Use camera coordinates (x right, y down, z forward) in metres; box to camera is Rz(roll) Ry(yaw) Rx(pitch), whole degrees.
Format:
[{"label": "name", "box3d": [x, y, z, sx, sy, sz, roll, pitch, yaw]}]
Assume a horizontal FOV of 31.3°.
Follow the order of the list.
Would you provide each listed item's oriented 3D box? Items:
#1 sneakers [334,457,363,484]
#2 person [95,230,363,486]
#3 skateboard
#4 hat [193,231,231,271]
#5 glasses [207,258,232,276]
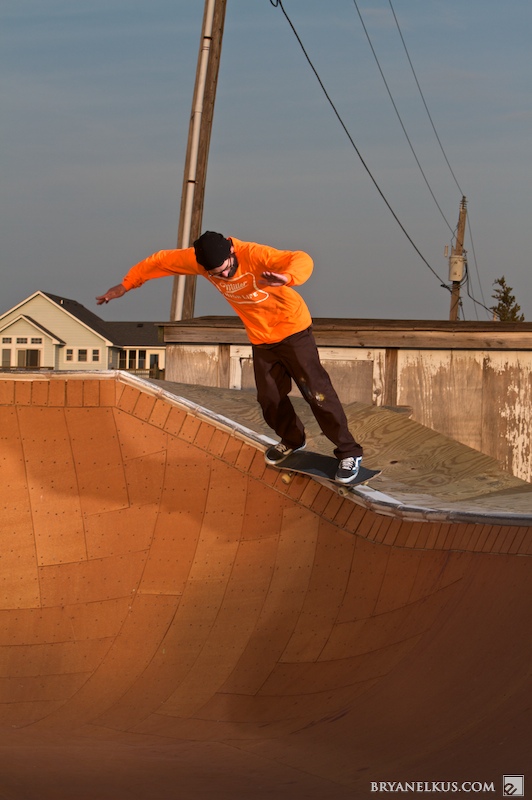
[{"label": "sneakers", "box3d": [0.528, 0.464, 6.113, 0.150, 0.171, 0.286, 0, -1, 7]}, {"label": "person", "box3d": [-0.155, -0.235, 6.142, 1.324, 1.554, 0.992, 0, -1, 28]}, {"label": "skateboard", "box3d": [0.370, 0.451, 6.086, 0.732, 0.115, 0.301, 17, 24, 29]}, {"label": "hat", "box3d": [-0.323, -0.902, 5.767, 0.233, 0.237, 0.329, 0, -1, -3]}, {"label": "glasses", "box3d": [-0.268, -0.801, 5.772, 0.106, 0.119, 0.060, -19, -39, 11]}]
